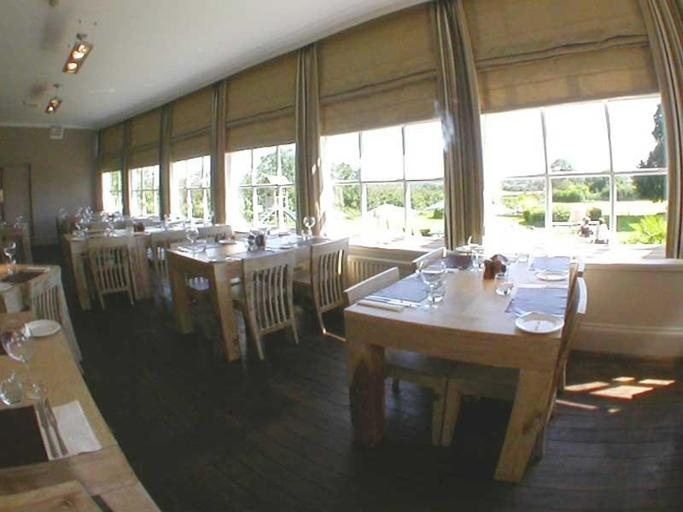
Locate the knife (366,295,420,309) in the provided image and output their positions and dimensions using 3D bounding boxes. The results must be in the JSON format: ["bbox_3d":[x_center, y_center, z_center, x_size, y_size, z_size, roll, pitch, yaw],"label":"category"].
[{"bbox_3d":[0.315,0.279,2.998,0.376,0.032,0.115,3,11,30],"label":"knife"}]

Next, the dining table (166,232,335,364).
[{"bbox_3d":[-0.994,0.107,4.809,0.877,0.822,1.275,17,34,38],"label":"dining table"}]

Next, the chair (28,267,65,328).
[{"bbox_3d":[-2.158,0.380,3.553,0.247,0.416,0.258,-6,-7,-24],"label":"chair"}]

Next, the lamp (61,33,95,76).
[{"bbox_3d":[-3.007,-2.378,5.507,0.197,0.052,0.610,14,-36,-35],"label":"lamp"}]

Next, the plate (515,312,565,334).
[{"bbox_3d":[1.096,0.372,2.626,0.243,0.075,0.227,-1,8,25],"label":"plate"}]

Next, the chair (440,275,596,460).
[{"bbox_3d":[1.108,0.577,3.431,0.986,1.492,1.062,8,9,20],"label":"chair"}]

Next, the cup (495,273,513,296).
[{"bbox_3d":[1.048,0.191,3.046,0.152,0.118,0.111,0,2,-12],"label":"cup"}]

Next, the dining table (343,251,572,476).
[{"bbox_3d":[0.720,0.381,2.975,0.939,0.729,1.416,4,9,24],"label":"dining table"}]

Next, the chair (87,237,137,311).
[{"bbox_3d":[-2.744,0.091,5.636,0.475,0.912,0.563,-10,23,-34],"label":"chair"}]

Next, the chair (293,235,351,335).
[{"bbox_3d":[-0.273,0.301,4.938,0.596,0.965,0.604,-12,12,-43],"label":"chair"}]

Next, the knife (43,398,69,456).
[{"bbox_3d":[-1.248,0.735,2.063,0.082,0.023,0.498,-11,30,-26],"label":"knife"}]

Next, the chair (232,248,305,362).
[{"bbox_3d":[-0.669,0.444,4.270,0.620,1.078,0.694,-12,20,-37],"label":"chair"}]
